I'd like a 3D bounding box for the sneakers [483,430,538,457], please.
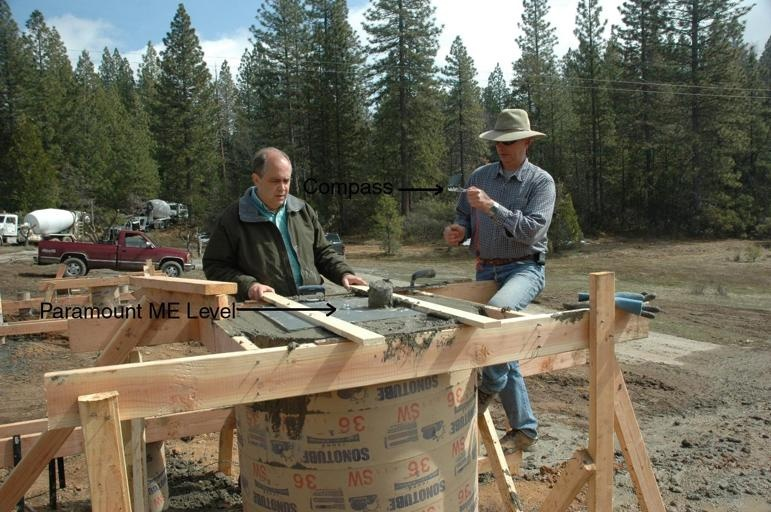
[{"bbox_3d":[1.433,2.126,7.494,0.541,0.285,0.217,2,0,-13],"label":"sneakers"}]
